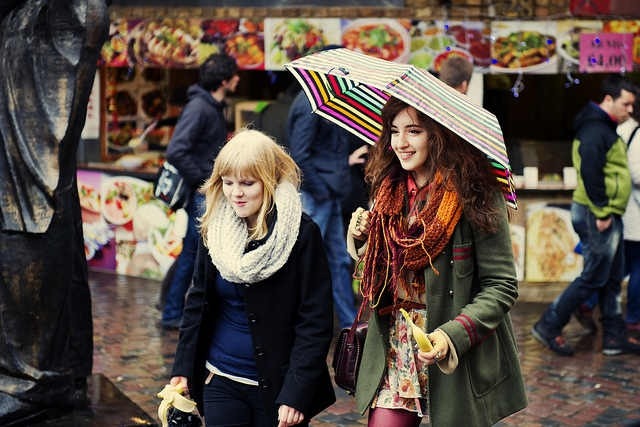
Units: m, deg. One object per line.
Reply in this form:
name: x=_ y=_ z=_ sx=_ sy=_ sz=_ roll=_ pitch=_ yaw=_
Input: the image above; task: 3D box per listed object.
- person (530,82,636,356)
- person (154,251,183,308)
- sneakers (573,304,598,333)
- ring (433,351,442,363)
person: x=2.815 y=-0.015 z=8.637 sx=1.017 sy=2.761 sz=1.047 roll=1 pitch=10 yaw=4
person: x=-1.749 y=0.765 z=9.251 sx=0.227 sy=0.806 sz=0.207 roll=14 pitch=26 yaw=-6
sneakers: x=2.919 y=1.146 z=9.086 sx=0.160 sy=0.362 sz=0.120 roll=-39 pitch=16 yaw=-7
ring: x=0.678 y=0.824 z=4.785 sx=0.017 sy=0.050 sz=0.038 roll=31 pitch=6 yaw=6
